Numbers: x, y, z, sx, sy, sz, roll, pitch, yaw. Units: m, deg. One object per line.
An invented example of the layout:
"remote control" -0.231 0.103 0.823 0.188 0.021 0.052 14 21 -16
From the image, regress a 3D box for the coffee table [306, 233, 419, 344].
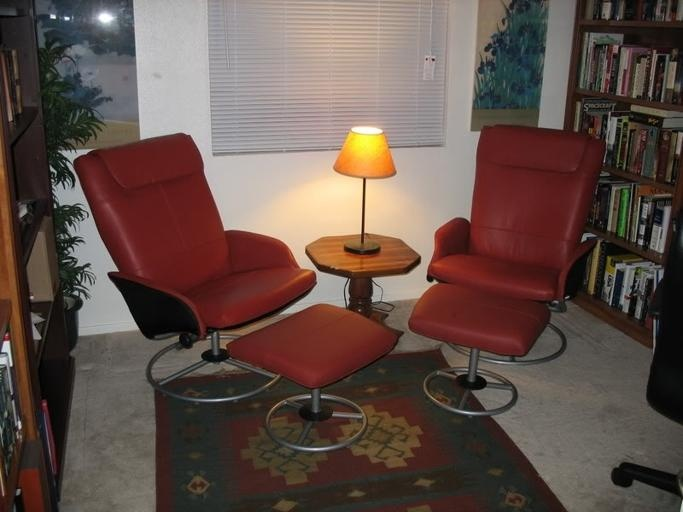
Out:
"coffee table" 0.119 0.223 3.553 0.789 0.540 0.791 16 25 41

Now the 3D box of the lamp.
"lamp" 0.129 -0.445 3.466 0.365 0.757 0.497 -7 21 -9

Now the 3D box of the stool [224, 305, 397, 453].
"stool" -0.164 0.630 2.760 0.767 0.462 0.733 7 12 34

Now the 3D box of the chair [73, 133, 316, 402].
"chair" -0.824 0.028 3.096 1.153 1.264 0.938 15 23 27

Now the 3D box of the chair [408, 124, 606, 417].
"chair" 1.009 0.017 3.265 0.910 1.347 1.636 10 25 27
